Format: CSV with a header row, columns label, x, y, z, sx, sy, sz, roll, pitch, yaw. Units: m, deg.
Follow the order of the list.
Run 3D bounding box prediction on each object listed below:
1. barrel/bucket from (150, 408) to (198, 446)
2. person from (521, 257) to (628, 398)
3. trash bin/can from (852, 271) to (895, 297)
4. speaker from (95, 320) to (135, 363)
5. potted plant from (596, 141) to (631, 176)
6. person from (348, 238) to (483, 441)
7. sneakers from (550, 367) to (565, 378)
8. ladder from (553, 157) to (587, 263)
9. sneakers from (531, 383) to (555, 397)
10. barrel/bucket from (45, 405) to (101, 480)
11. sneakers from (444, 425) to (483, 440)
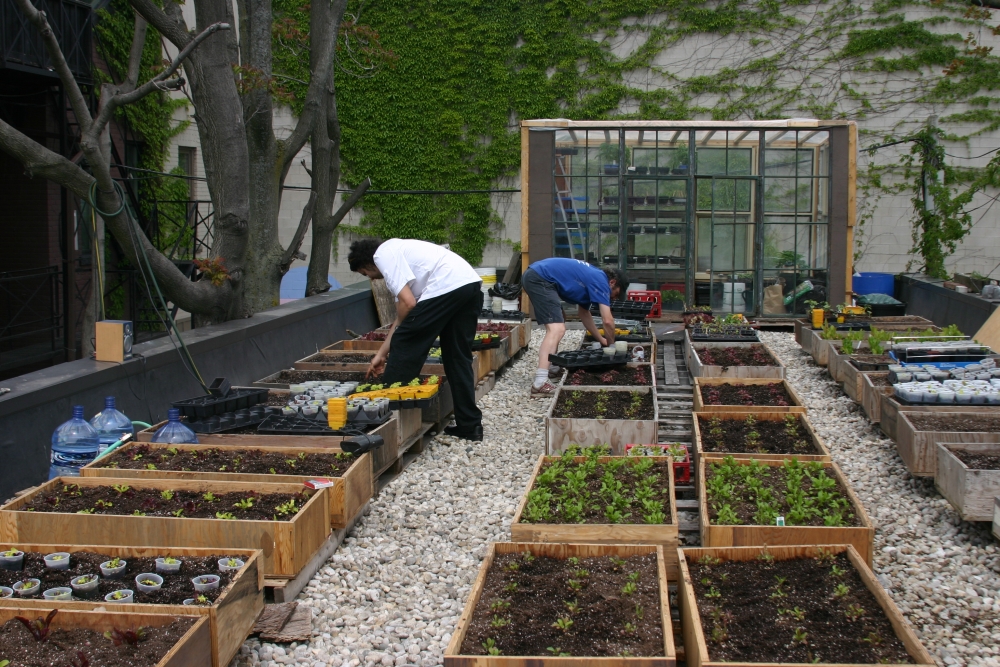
label,x,y,z,sx,sy,sz,roll,pitch,yaw
barrel/bucket,-2.666,0.749,6.835,0.288,0.280,0.290,2,1,0
person,0.799,-0.103,10.106,1.085,1.564,0.693,1,13,0
trash bin/can,7.599,-1.031,17.015,0.610,0.412,0.650,1,3,11
speaker,-3.501,0.110,7.780,0.336,0.457,0.454,-1,-3,3
potted plant,2.009,-3.048,14.696,0.629,0.572,0.351,0,13,-4
person,-0.735,0.104,8.031,1.221,1.990,0.650,-1,14,-9
sneakers,0.718,0.494,10.582,0.133,0.074,0.209,0,1,-3
ladder,1.259,-2.085,14.487,0.846,1.582,0.554,-4,12,-3
sneakers,0.512,0.634,10.101,0.289,0.135,0.509,3,13,7
barrel/bucket,-3.314,0.818,6.532,0.384,0.551,0.396,1,13,0
sneakers,-0.353,0.989,8.456,0.394,0.170,0.147,6,6,15
